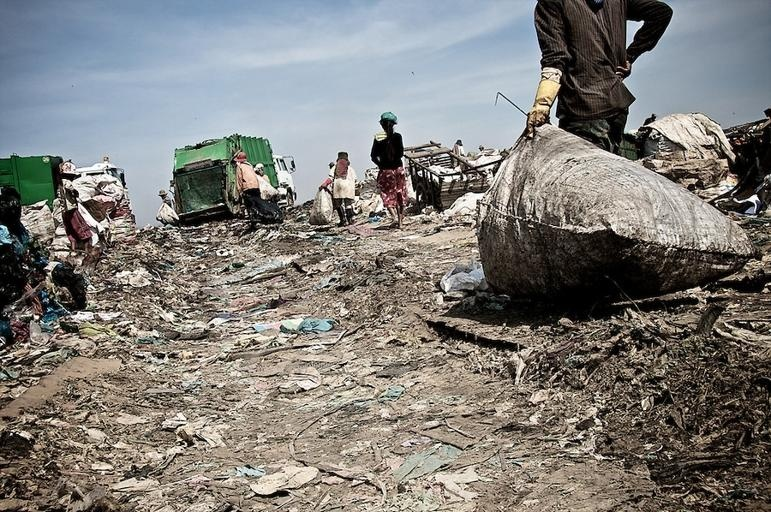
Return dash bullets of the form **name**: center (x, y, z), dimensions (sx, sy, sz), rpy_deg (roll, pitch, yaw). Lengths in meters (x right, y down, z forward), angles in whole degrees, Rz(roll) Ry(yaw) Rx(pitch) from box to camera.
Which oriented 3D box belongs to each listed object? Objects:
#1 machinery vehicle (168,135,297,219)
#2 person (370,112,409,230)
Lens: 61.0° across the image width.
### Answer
- **machinery vehicle**: center (-4.843, -2.321, 20.306), dimensions (2.421, 2.028, 4.401), rpy_deg (-8, 5, 22)
- **person**: center (-0.065, -1.488, 11.648), dimensions (0.731, 2.048, 0.996), rpy_deg (0, 2, 38)
